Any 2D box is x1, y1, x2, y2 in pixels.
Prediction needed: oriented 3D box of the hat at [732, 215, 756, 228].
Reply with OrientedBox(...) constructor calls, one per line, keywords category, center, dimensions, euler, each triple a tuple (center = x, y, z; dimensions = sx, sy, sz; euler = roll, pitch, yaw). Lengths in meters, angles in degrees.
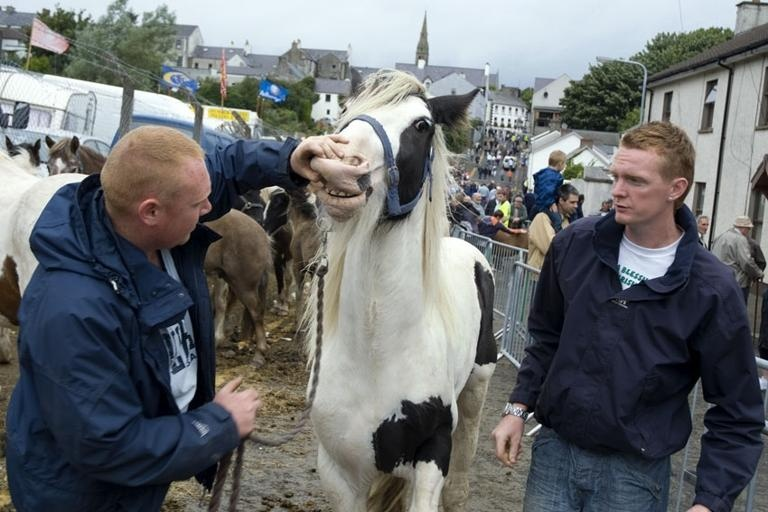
OrientedBox(category="hat", center=(5.867, -0.529, 12.016), dimensions=(0.312, 0.177, 0.337), euler=(3, 6, 23))
